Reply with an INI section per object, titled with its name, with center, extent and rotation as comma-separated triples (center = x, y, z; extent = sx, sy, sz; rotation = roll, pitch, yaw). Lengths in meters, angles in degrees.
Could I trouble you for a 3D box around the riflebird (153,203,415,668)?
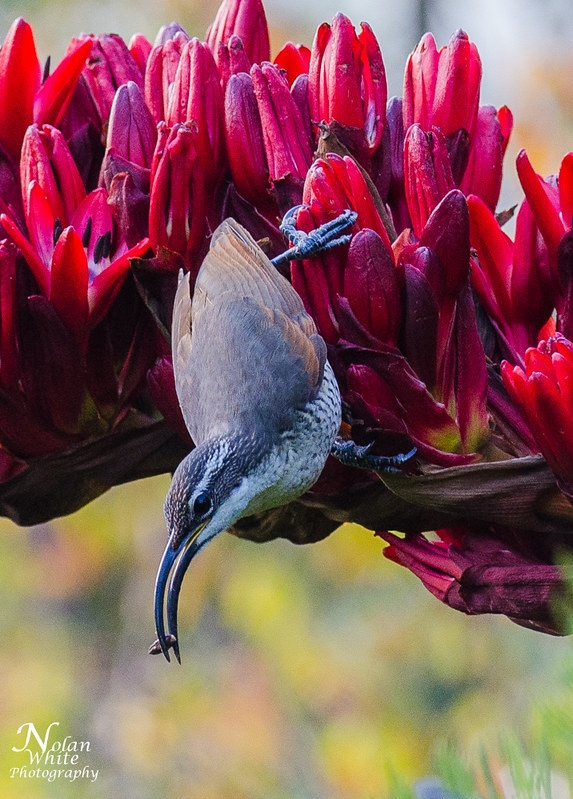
[riflebird]
center = -0.023, -0.003, 0.583
extent = 0.141, 0.179, 0.157
rotation = -10, 37, -30
